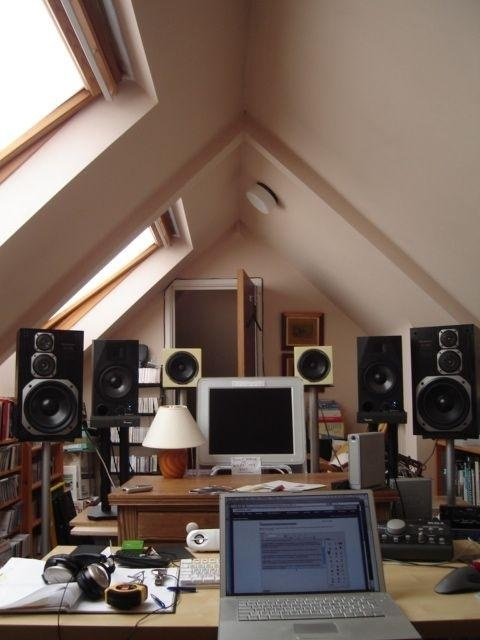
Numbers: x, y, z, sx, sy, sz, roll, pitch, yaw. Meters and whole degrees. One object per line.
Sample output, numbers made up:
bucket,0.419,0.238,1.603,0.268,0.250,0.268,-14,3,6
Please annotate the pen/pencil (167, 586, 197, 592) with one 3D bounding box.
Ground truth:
pen/pencil,-0.145,0.664,1.308,0.069,0.013,0.012,2,-4,-5

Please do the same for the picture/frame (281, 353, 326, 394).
picture/frame,0.705,0.487,5.568,0.542,0.543,0.280,0,-16,2

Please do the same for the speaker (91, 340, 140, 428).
speaker,-0.647,0.327,2.754,0.238,0.455,0.116,3,-12,-16

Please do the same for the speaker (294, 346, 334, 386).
speaker,0.397,0.250,2.845,0.195,0.197,0.107,-3,-10,1

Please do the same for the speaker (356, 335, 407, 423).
speaker,0.693,0.295,2.630,0.230,0.436,0.209,-3,-12,14

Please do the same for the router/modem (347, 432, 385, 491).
router/modem,0.466,0.523,1.972,0.093,0.197,0.188,-8,-14,34

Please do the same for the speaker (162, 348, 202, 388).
speaker,-0.342,0.287,3.184,0.229,0.232,0.232,0,-10,-5

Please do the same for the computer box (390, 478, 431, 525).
computer box,0.609,0.646,1.876,0.145,0.197,0.107,1,6,9

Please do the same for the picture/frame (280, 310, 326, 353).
picture/frame,0.645,0.126,5.434,0.423,0.394,0.042,2,-14,0

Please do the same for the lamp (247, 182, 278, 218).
lamp,0.207,-1.038,4.464,0.325,0.232,0.243,4,-12,-19

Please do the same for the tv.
tv,0.050,0.475,2.393,0.441,0.397,0.091,0,-17,-2

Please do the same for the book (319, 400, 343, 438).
book,0.920,0.992,5.325,0.235,0.395,0.691,-2,-12,9

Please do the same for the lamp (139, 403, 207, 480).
lamp,-0.249,0.497,2.269,0.310,0.335,0.310,-1,-3,7
